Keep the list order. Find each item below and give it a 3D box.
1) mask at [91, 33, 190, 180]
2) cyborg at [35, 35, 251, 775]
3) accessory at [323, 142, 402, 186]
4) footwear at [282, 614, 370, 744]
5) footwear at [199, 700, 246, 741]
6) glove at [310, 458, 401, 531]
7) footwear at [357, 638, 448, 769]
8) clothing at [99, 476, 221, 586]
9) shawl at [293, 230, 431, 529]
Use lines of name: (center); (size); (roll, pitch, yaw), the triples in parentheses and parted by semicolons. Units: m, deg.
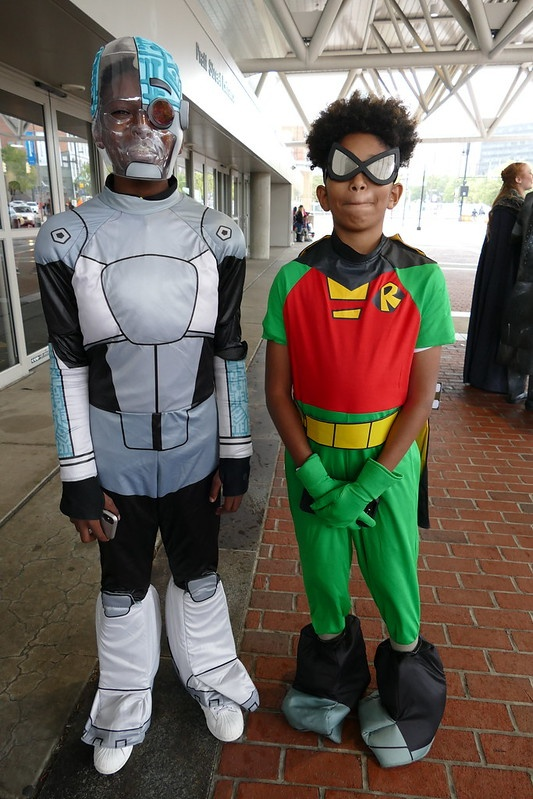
mask: (-0.302, -0.707, 1.240); (0.211, 0.311, 0.236); (-13, 25, -35)
cyborg: (-0.291, 0.060, 1.392); (0.587, 1.753, 0.361); (-5, 13, -27)
accessory: (0.241, -0.587, 1.278); (0.182, 0.096, 0.104); (4, 13, 8)
footwear: (0.193, 0.889, 1.666); (0.217, 0.303, 0.300); (4, 7, 35)
footwear: (-0.132, 0.986, 1.539); (0.068, 0.072, 0.181); (3, -14, -24)
glove: (0.240, 0.222, 1.331); (0.175, 0.207, 0.076); (29, 3, 4)
footwear: (0.389, 0.868, 1.669); (0.303, 0.423, 0.373); (2, 3, 8)
clothing: (-0.306, 0.352, 1.448); (0.320, 0.406, 0.148); (-2, 1, -19)
shawl: (0.259, -0.081, 1.401); (0.512, 0.740, 0.189); (6, 28, 22)
